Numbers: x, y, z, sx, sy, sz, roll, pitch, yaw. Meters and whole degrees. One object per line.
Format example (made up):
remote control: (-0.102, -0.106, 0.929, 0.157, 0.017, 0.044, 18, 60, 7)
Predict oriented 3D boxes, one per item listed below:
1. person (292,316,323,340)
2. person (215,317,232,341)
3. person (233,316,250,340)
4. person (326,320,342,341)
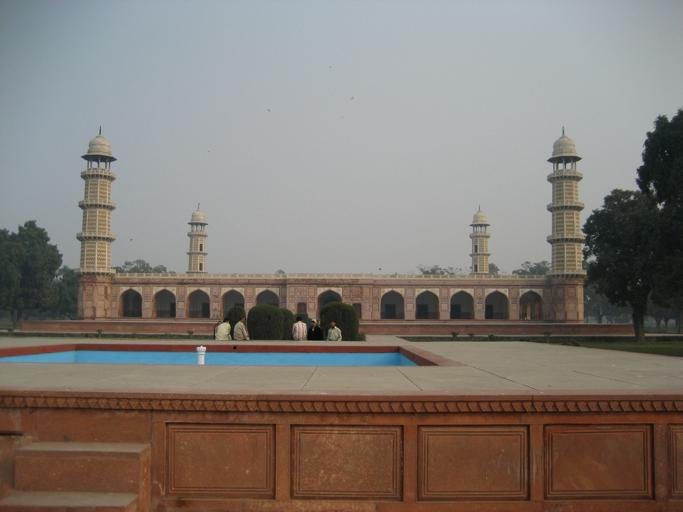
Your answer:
person: (-1.227, 2.596, 52.739, 0.749, 0.798, 0.233, 1, -15, 1)
person: (-4.206, 2.578, 51.792, 0.641, 0.891, 0.510, 6, 8, 36)
person: (-3.535, 2.505, 51.130, 0.538, 0.969, 2.005, 0, -8, -5)
person: (-0.210, 2.685, 52.851, 0.618, 0.966, 0.359, -3, -14, 3)
